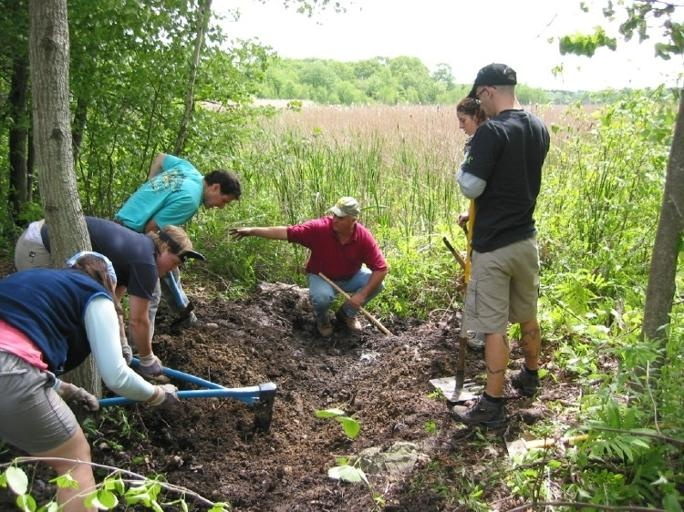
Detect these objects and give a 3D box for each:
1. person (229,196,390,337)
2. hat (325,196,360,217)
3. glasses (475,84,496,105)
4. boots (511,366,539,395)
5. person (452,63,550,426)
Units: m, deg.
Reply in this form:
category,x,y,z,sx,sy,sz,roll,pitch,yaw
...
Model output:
category,x,y,z,sx,sy,sz,roll,pitch,yaw
person,-0.398,0.170,7.090,1.385,1.282,0.748,-12,14,-30
hat,0.008,-0.503,6.399,0.302,0.171,0.219,1,10,-26
glasses,1.116,-1.261,4.870,0.114,0.136,0.131,-12,24,-32
boots,1.515,1.011,5.163,0.106,0.202,0.289,-5,17,-11
person,1.260,-0.087,4.876,0.825,2.773,0.549,5,5,-1
